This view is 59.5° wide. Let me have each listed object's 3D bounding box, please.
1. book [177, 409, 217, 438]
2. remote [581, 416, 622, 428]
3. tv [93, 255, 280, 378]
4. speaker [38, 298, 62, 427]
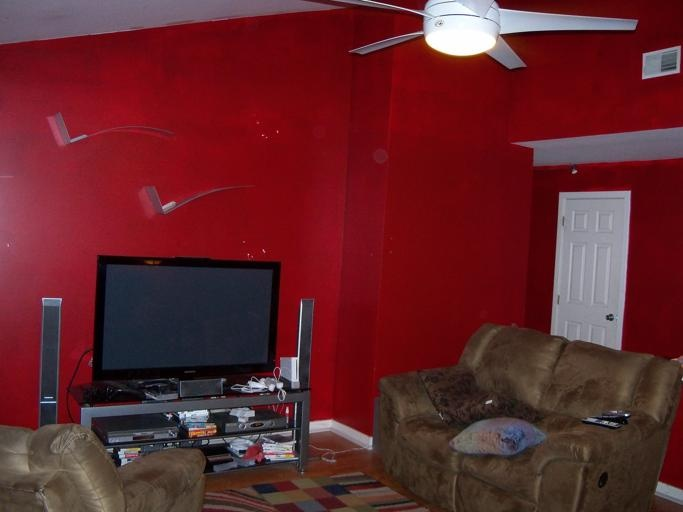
[{"bbox_3d":[-1.020,1.172,4.206,0.187,0.054,0.209,2,5,-32],"label":"book"},{"bbox_3d":[1.561,0.984,3.571,0.173,0.043,0.210,-4,0,-40],"label":"remote"},{"bbox_3d":[-1.160,0.429,4.234,0.856,0.610,0.066,2,2,-23],"label":"tv"},{"bbox_3d":[-1.966,0.690,4.009,0.175,0.917,0.219,-4,1,-25],"label":"speaker"}]
